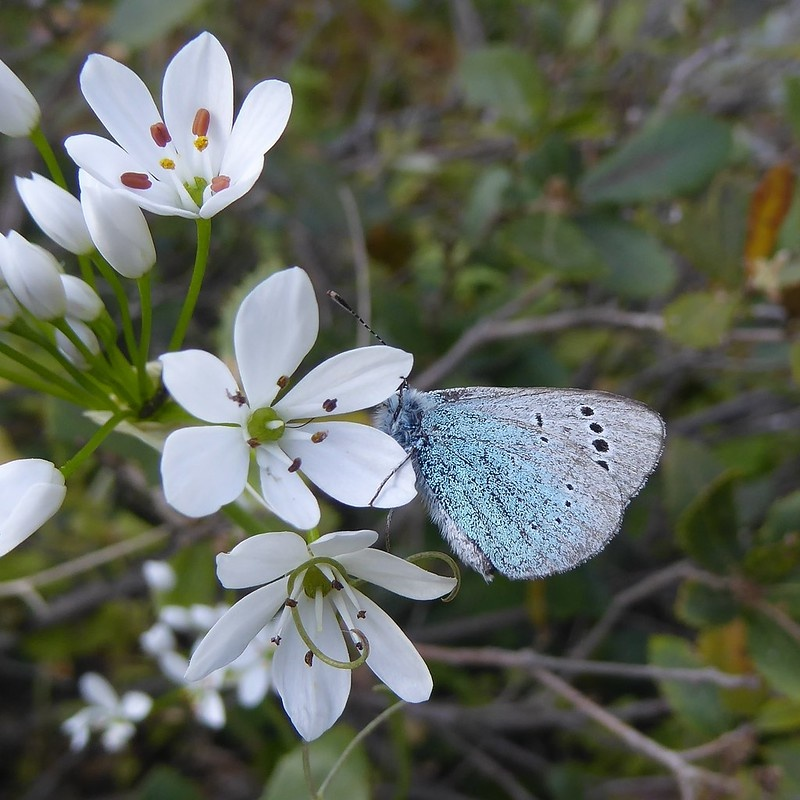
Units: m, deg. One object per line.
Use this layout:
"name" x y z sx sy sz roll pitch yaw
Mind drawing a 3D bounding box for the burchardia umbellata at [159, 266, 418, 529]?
"burchardia umbellata" -0.189 0.011 1.712 0.419 0.284 0.441 -1 80 -1

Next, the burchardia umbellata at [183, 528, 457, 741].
"burchardia umbellata" -0.153 0.339 1.734 0.320 0.357 0.102 15 111 31

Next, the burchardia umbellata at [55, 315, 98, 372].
"burchardia umbellata" -0.614 -0.104 1.788 0.079 0.028 0.099 -42 84 24

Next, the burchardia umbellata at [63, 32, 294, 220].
"burchardia umbellata" -0.363 -0.494 1.820 0.422 0.217 0.347 -4 81 3
